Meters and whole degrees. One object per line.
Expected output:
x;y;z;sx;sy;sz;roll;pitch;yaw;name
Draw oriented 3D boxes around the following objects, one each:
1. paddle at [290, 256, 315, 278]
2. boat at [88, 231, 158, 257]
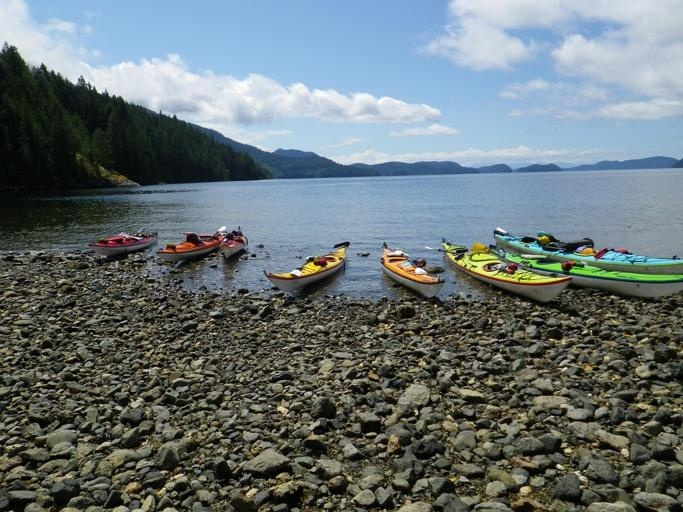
-2.516;0.682;29.123;0.670;0.365;2.789;17;23;8;paddle
-16.914;-0.915;36.560;2.239;1.085;5.263;8;11;15;boat
